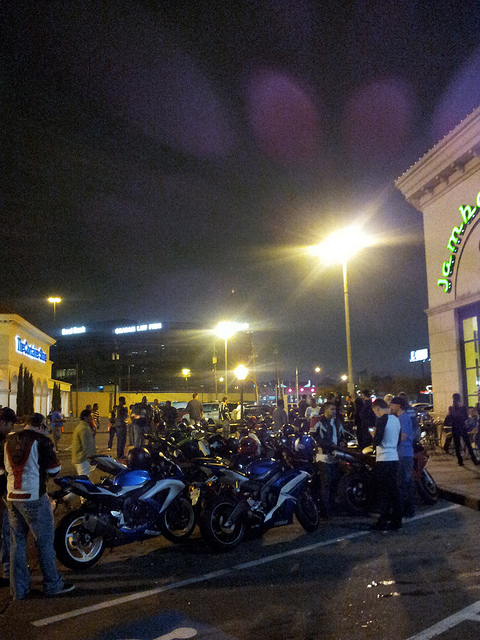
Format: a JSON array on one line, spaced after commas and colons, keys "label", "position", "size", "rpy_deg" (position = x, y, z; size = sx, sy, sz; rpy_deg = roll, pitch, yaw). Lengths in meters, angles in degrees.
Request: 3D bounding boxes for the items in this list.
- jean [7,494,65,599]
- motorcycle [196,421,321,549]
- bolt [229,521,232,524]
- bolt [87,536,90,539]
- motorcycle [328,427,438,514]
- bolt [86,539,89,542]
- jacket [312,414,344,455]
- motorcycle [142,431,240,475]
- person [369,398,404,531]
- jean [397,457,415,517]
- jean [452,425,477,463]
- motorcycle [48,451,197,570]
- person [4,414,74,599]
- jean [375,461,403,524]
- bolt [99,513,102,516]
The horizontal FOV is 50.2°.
[{"label": "jean", "position": [-1.977, 2.136, 4.912], "size": [0.584, 0.877, 0.366], "rpy_deg": [1, -9, -10]}, {"label": "motorcycle", "position": [0.225, 2.402, 6.905], "size": [2.029, 1.006, 0.479], "rpy_deg": [7, -12, -40]}, {"label": "bolt", "position": [-0.111, 2.507, 6.366], "size": [0.027, 0.049, 0.027], "rpy_deg": [-7, 9, -34]}, {"label": "bolt", "position": [-1.740, 2.488, 5.881], "size": [0.022, 0.041, 0.022], "rpy_deg": [2, -4, -32]}, {"label": "motorcycle", "position": [2.648, 2.565, 8.812], "size": [2.075, 1.296, 0.771], "rpy_deg": [1, -20, -19]}, {"label": "bolt", "position": [-1.752, 2.523, 5.880], "size": [0.010, 0.029, 0.036], "rpy_deg": [-5, -10, 24]}, {"label": "jacket", "position": [1.508, 1.816, 8.398], "size": [0.650, 0.625, 0.274], "rpy_deg": [3, -8, -1]}, {"label": "motorcycle", "position": [-0.721, 2.053, 7.910], "size": [1.343, 0.808, 0.670], "rpy_deg": [-11, -8, -25]}, {"label": "person", "position": [2.160, 2.054, 7.517], "size": [0.447, 1.814, 0.769], "rpy_deg": [-4, -10, 17]}, {"label": "jean", "position": [2.678, 2.585, 8.071], "size": [0.255, 1.021, 0.320], "rpy_deg": [12, -44, 8]}, {"label": "jean", "position": [5.963, 3.269, 13.595], "size": [0.766, 0.991, 0.447], "rpy_deg": [4, -11, -30]}, {"label": "motorcycle", "position": [-1.352, 2.288, 6.308], "size": [0.640, 1.151, 2.081], "rpy_deg": [-15, -14, 37]}, {"label": "person", "position": [-2.018, 1.772, 5.007], "size": [0.746, 1.683, 0.481], "rpy_deg": [-5, -10, 21]}, {"label": "jean", "position": [2.128, 2.420, 7.260], "size": [0.355, 0.841, 0.298], "rpy_deg": [-4, -10, 16]}, {"label": "bolt", "position": [-1.573, 2.176, 5.749], "size": [0.025, 0.024, 0.025], "rpy_deg": [13, -16, -42]}]
